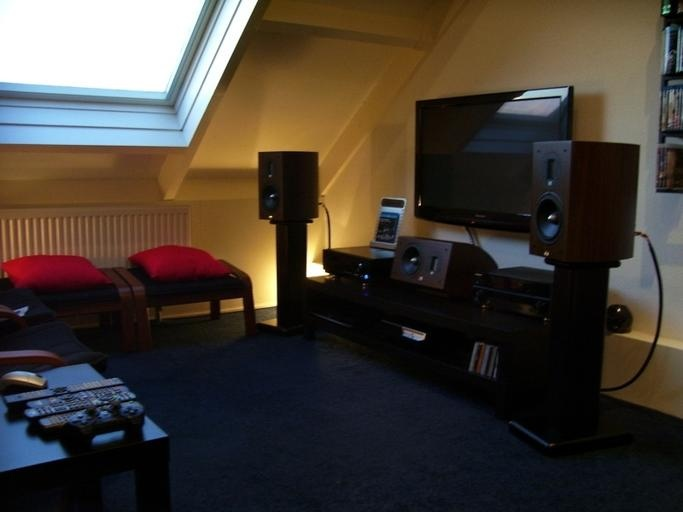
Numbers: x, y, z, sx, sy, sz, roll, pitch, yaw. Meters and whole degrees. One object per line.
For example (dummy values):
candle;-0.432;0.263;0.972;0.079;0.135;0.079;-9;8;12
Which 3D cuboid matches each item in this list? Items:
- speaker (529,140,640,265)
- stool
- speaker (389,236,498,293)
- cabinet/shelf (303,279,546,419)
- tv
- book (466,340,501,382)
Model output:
speaker;1.057;-0.236;2.278;0.429;0.509;0.283;4;11;20
stool;-1.455;0.299;3.675;1.605;0.644;0.510;-6;12;-28
speaker;0.628;-0.055;3.250;0.372;0.323;0.480;-13;13;-31
cabinet/shelf;0.471;0.462;3.172;0.362;0.448;1.518;-9;14;-42
tv;0.938;-0.592;3.167;0.126;0.718;0.965;-7;12;-35
book;0.719;0.533;2.680;0.041;0.159;0.150;6;4;-34
